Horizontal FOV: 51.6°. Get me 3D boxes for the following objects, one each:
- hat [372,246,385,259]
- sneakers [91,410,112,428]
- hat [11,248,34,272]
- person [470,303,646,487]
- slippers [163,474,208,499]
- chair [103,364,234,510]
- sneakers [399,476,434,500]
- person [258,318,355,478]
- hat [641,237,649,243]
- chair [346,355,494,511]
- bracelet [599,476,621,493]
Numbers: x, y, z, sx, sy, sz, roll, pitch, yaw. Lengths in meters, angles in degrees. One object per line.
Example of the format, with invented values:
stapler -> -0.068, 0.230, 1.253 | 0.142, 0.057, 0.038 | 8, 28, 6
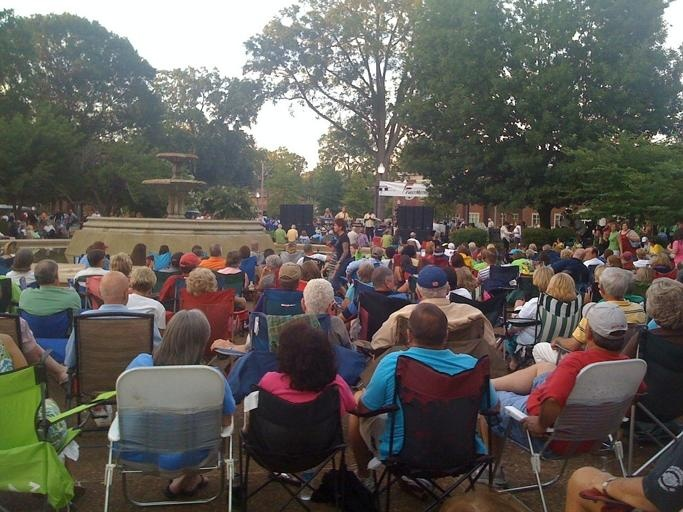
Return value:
hat -> 0.706, -0.004, 13.171 | 0.162, 0.245, 0.230 | 8, 21, -12
sneakers -> -2.594, 1.755, 7.665 | 0.211, 0.173, 0.146 | 1, 2, -3
hat -> -4.476, 0.068, 9.888 | 0.233, 0.479, 0.303 | 5, 23, -23
person -> 2.114, 1.321, 6.536 | 1.094, 2.073, 1.114 | -1, 10, -24
slippers -> -1.429, 2.091, 6.413 | 0.213, 0.185, 0.439 | 3, 4, 18
chair -> -1.446, 1.401, 6.453 | 1.137, 1.741, 1.182 | 1, 14, -8
sneakers -> 0.682, 2.119, 6.407 | 0.282, 0.112, 0.204 | 1, 10, 39
person -> -0.267, 1.234, 6.194 | 1.181, 1.339, 0.659 | 2, 24, -1
hat -> 9.137, -0.437, 21.225 | 0.195, 0.181, 0.319 | -1, 5, 36
chair -> 0.802, 1.527, 6.423 | 1.231, 1.814, 1.226 | 1, -5, -8
bracelet -> 2.054, 1.724, 5.371 | 0.137, 0.156, 0.078 | -6, 4, -42
